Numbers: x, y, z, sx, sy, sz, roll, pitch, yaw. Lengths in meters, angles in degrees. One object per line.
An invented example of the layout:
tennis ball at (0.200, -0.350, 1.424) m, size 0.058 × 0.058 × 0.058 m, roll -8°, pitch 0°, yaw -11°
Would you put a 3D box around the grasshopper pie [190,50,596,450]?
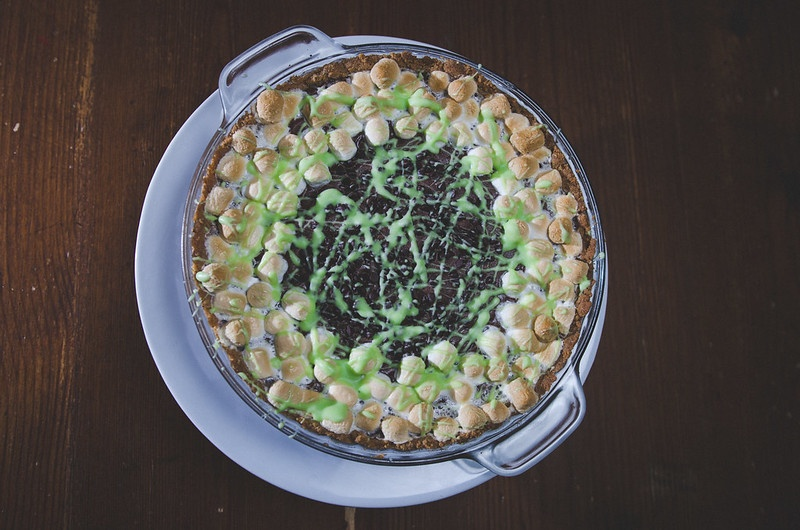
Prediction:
grasshopper pie at (-0.008, -0.041, 2.971) m, size 1.074 × 0.102 × 1.062 m, roll -1°, pitch 84°, yaw 0°
